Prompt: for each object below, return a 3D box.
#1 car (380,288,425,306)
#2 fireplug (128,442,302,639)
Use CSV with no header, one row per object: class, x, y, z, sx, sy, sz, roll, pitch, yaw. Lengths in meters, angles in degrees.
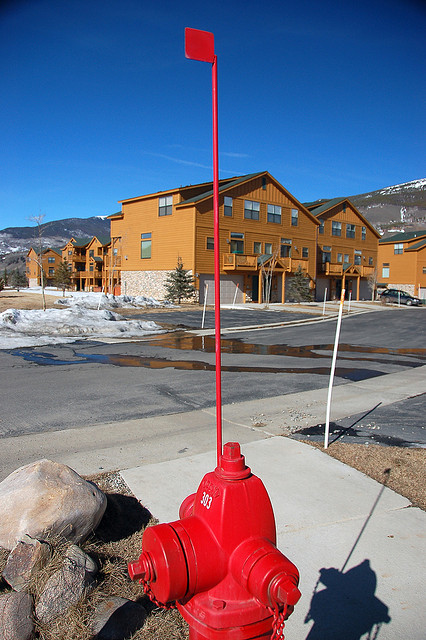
car,21.043,-2.264,51.526,1.840,1.589,4.082,-2,3,-33
fireplug,0.006,0.846,1.669,0.597,0.729,0.421,-9,-5,10
